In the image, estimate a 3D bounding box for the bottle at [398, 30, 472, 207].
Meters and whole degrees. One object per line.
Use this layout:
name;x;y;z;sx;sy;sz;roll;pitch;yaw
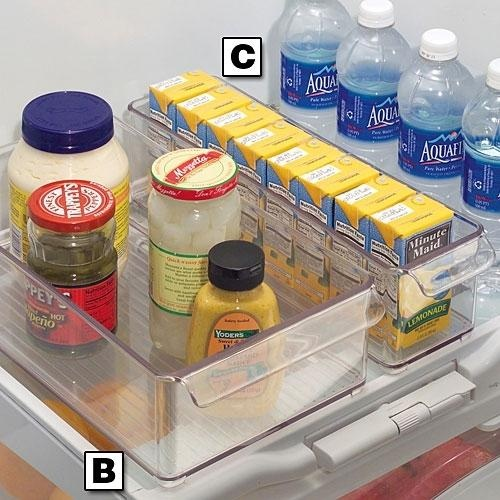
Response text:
bottle;0.276;-0.208;0.984;0.114;0.222;0.159;9;39;9

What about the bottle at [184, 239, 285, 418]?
bottle;-0.019;0.072;0.696;0.101;0.171;0.209;-4;37;-6
